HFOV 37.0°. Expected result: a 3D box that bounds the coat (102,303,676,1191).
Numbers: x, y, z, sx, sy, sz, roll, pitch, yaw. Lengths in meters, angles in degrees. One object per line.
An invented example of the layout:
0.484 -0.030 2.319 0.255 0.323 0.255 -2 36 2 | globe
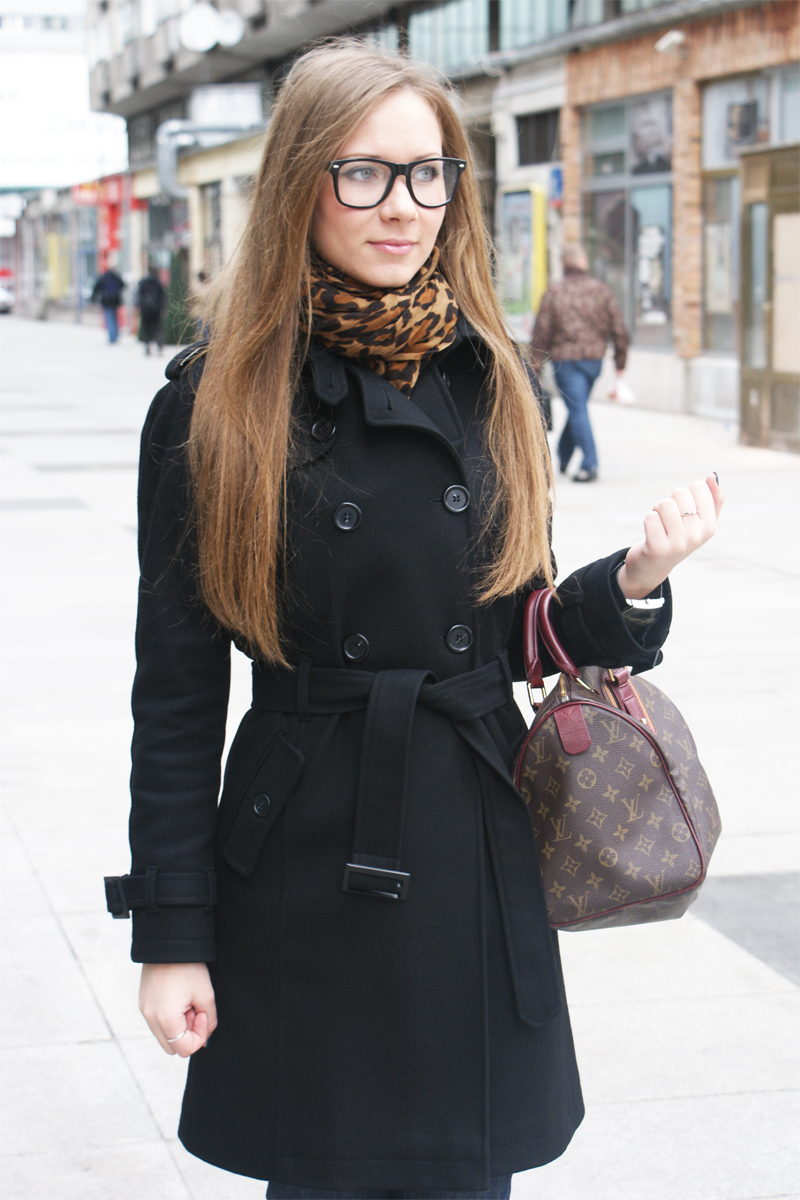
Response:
-0.024 0.157 1.277 0.600 0.872 0.429 2 13 7 | coat

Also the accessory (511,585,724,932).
0.228 0.165 1.347 0.200 0.361 0.264 -13 3 20 | accessory

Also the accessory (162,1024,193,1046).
-0.213 0.419 1.156 0.028 0.017 0.014 -11 17 -43 | accessory

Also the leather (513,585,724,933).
0.234 0.148 1.340 0.193 0.333 0.241 -21 1 18 | leather

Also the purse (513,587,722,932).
0.234 0.168 1.350 0.211 0.370 0.267 -15 -1 24 | purse
